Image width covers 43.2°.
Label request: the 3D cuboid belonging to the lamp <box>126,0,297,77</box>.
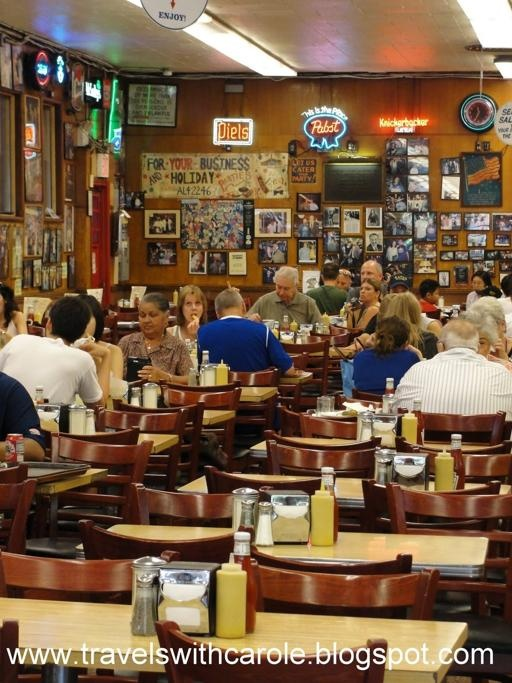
[{"bbox_3d":[-0.401,-5.728,12.649,0.886,0.634,4.476,2,5,22],"label":"lamp"}]

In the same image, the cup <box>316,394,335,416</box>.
[{"bbox_3d":[0.491,0.456,4.596,0.127,0.220,0.123,0,-2,0],"label":"cup"}]

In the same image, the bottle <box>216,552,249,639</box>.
[{"bbox_3d":[-0.045,0.476,1.165,0.052,0.125,0.030,0,5,-11],"label":"bottle"}]

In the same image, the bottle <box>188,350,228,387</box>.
[{"bbox_3d":[-0.421,0.232,5.836,0.345,0.334,0.337,1,-4,-1],"label":"bottle"}]

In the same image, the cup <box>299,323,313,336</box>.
[{"bbox_3d":[0.729,-0.187,9.309,0.262,0.238,0.141,0,-5,14],"label":"cup"}]
